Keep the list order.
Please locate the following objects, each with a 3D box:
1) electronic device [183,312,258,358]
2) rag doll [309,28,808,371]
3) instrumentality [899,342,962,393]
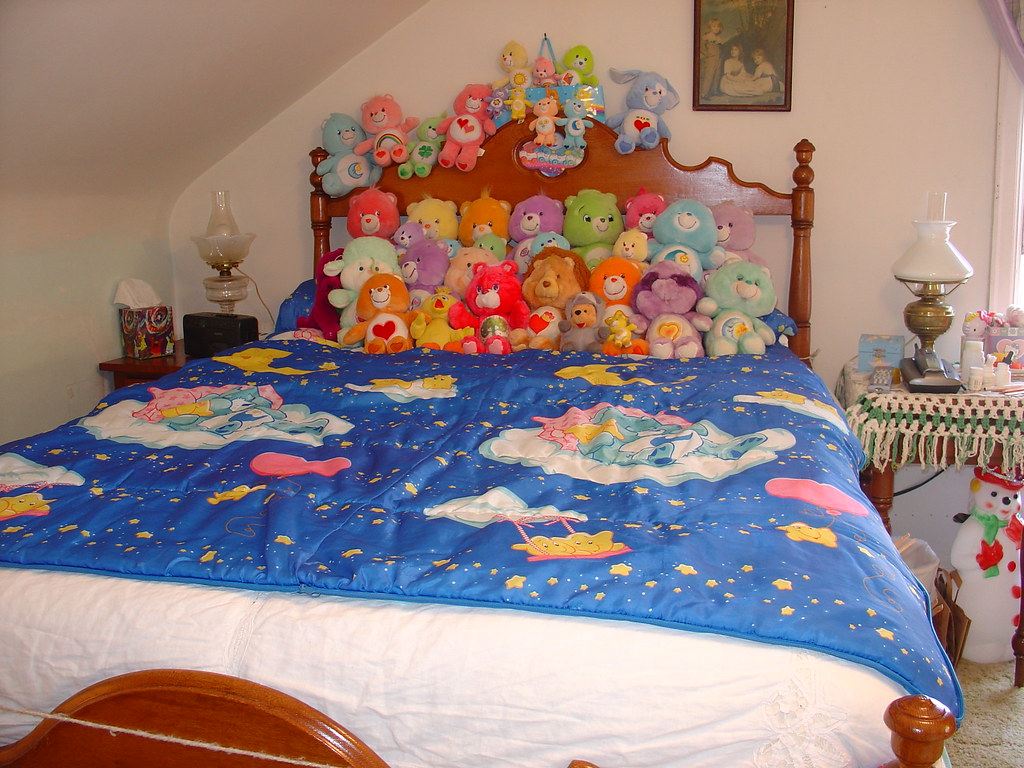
[{"bbox_3d":[-1.242,-0.215,3.441,0.283,0.149,0.144,6,17,19],"label":"electronic device"},{"bbox_3d":[0.262,-0.722,3.177,1.623,1.049,0.555,2,15,9],"label":"rag doll"},{"bbox_3d":[1.416,-0.060,2.754,0.172,0.085,0.265,0,23,6],"label":"instrumentality"}]
